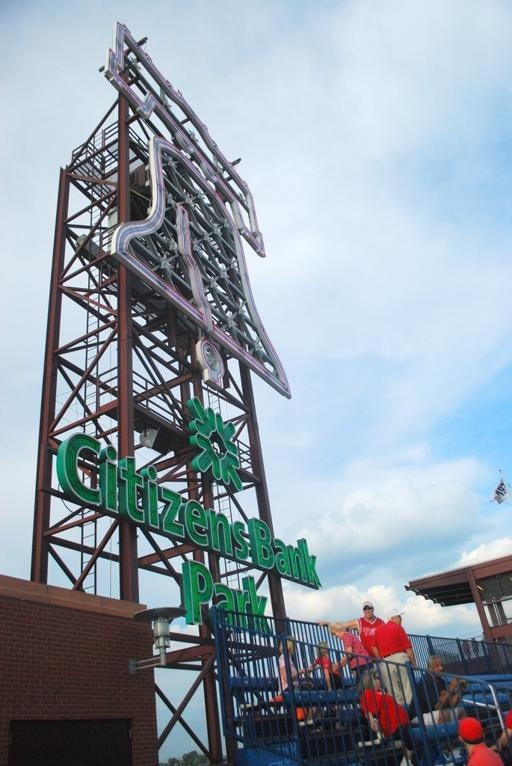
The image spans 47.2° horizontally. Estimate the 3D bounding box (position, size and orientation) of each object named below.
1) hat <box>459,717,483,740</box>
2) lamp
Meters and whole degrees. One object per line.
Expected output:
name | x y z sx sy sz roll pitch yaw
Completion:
hat | 1.971 3.164 5.386 0.185 0.132 0.250 1 11 5
lamp | -1.833 4.803 10.868 1.079 1.017 0.857 -7 -30 -10
